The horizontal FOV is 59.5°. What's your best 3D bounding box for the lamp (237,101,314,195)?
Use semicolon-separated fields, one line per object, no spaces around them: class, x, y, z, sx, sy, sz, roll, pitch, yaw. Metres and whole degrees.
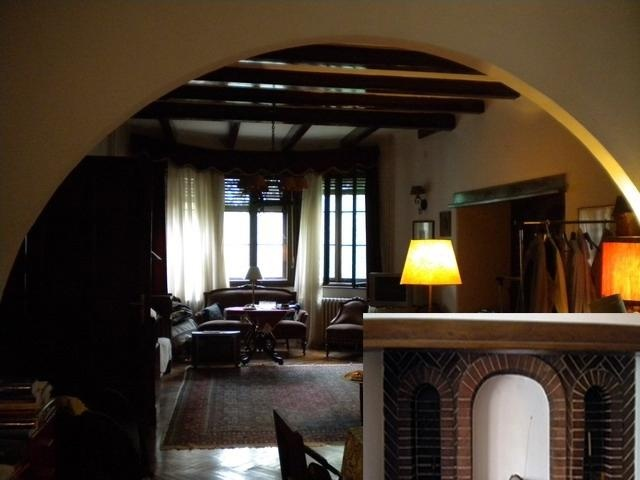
lamp;-0.861;-1.358;9.004;1.053;1.968;1.204;1;-1;-15

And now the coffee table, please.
coffee table;-0.898;1.334;8.485;0.811;0.721;0.881;0;-5;7

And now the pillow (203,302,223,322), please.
pillow;-1.744;1.167;9.174;0.312;0.209;0.645;0;1;-11

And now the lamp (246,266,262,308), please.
lamp;-1.130;0.753;9.424;0.230;0.675;1.148;0;1;-7

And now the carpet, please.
carpet;-0.589;1.856;6.395;2.191;0.075;2.370;0;1;-5

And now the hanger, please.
hanger;2.236;0.245;5.050;0.769;1.046;0.542;0;3;26
